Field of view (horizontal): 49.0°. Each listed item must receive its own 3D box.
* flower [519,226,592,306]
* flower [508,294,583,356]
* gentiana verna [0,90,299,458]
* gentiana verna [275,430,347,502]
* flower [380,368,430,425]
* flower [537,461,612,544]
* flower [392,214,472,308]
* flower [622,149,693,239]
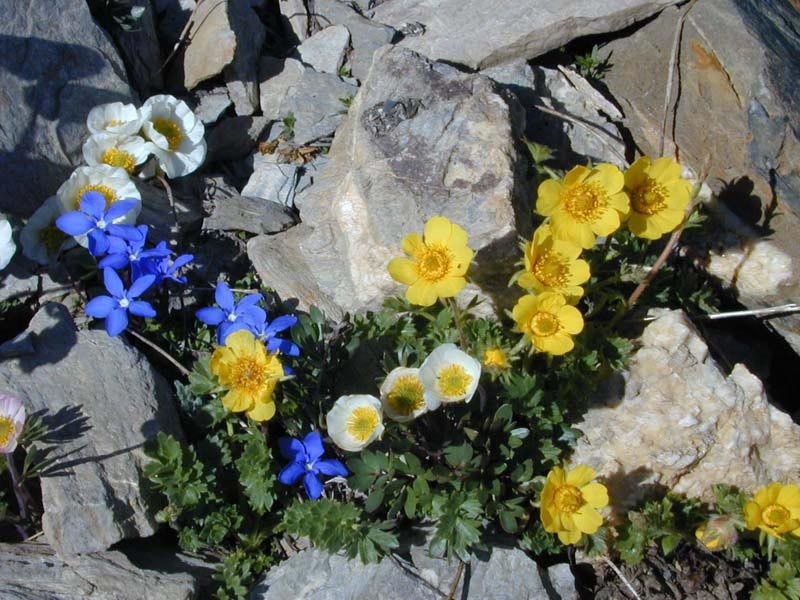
[{"bbox_3d":[0.803,-0.146,4.829,0.394,0.172,0.403,35,66,8],"label":"flower"},{"bbox_3d":[0.760,0.102,4.595,0.356,0.151,0.396,-4,36,20],"label":"flower"},{"bbox_3d":[-1.636,-0.500,5.496,1.081,0.925,1.540,12,49,19],"label":"gentiana verna"},{"bbox_3d":[-0.497,0.915,4.917,0.398,0.293,0.346,10,48,17],"label":"gentiana verna"},{"bbox_3d":[0.033,0.518,4.820,0.245,0.140,0.284,-39,77,7],"label":"flower"},{"bbox_3d":[0.881,1.055,4.701,0.412,0.178,0.410,-36,29,-9],"label":"flower"},{"bbox_3d":[0.183,-0.204,4.656,0.404,0.169,0.505,-6,62,17],"label":"flower"},{"bbox_3d":[1.426,-0.598,4.905,0.378,0.456,0.168,0,11,19],"label":"flower"}]
